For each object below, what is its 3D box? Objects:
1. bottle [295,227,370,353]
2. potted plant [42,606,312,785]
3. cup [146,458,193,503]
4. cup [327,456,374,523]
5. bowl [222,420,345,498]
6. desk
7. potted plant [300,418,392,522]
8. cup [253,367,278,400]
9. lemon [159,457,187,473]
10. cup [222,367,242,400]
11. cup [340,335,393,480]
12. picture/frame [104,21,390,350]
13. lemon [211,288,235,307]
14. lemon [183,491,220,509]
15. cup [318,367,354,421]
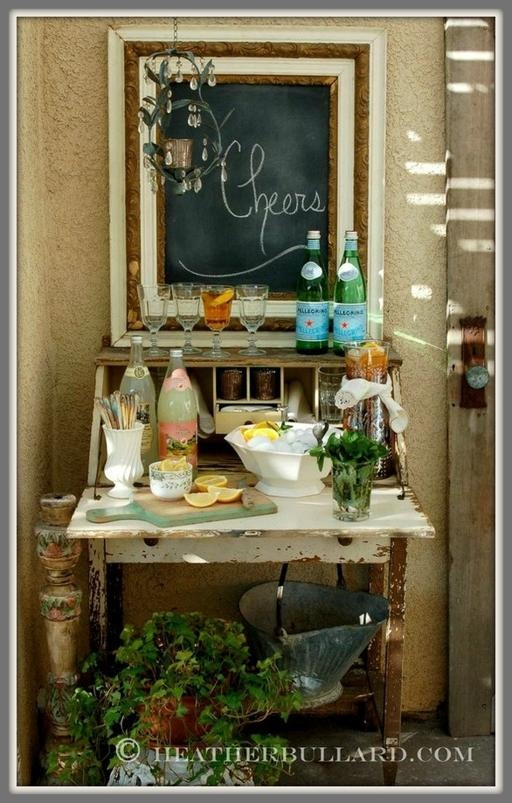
[{"bbox_3d":[0.171,-0.250,1.669,0.163,0.283,0.265,1,7,6],"label":"bottle"},{"bbox_3d":[-0.198,0.604,1.474,0.425,0.251,0.447,9,12,43],"label":"potted plant"},{"bbox_3d":[-0.158,0.146,1.373,0.075,0.073,0.076,0,1,0],"label":"cup"},{"bbox_3d":[0.177,0.158,1.311,0.105,0.147,0.092,0,-2,-2],"label":"cup"},{"bbox_3d":[0.069,0.120,1.513,0.235,0.118,0.253,-1,15,0],"label":"bowl"},{"bbox_3d":[-0.030,0.374,1.620,0.705,0.888,0.654,2,12,2],"label":"desk"},{"bbox_3d":[0.176,0.119,1.322,0.165,0.184,0.149,0,0,-6],"label":"potted plant"},{"bbox_3d":[0.025,-0.041,1.689,0.064,0.077,0.066,0,7,0],"label":"cup"},{"bbox_3d":[-0.161,0.122,1.420,0.029,0.020,0.032,8,15,28],"label":"lemon"},{"bbox_3d":[-0.056,-0.040,1.686,0.058,0.068,0.062,0,3,0],"label":"cup"},{"bbox_3d":[0.235,0.018,1.563,0.108,0.272,0.110,-1,-1,0],"label":"cup"},{"bbox_3d":[-0.028,-0.542,1.719,0.750,0.887,0.062,0,8,0],"label":"picture/frame"},{"bbox_3d":[-0.075,-0.233,1.629,0.050,0.039,0.026,-1,7,-14],"label":"lemon"},{"bbox_3d":[-0.101,0.183,1.359,0.037,0.014,0.033,-3,26,-1],"label":"lemon"},{"bbox_3d":[0.189,-0.007,1.694,0.083,0.134,0.082,0,6,0],"label":"cup"}]
